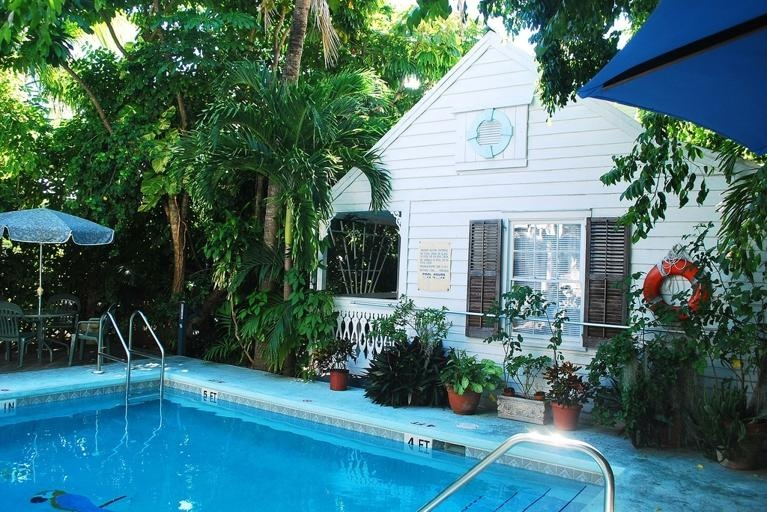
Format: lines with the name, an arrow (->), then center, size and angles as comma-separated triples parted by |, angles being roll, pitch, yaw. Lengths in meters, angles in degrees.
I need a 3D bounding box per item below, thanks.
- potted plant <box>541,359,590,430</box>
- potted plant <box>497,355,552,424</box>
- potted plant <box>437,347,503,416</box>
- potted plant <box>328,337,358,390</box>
potted plant -> 2.774, 2.170, 8.732 | 0.660, 0.986, 0.381 | 4, 12, 21
potted plant -> 2.259, 2.165, 9.115 | 0.861, 1.160, 0.435 | -5, -10, 43
potted plant -> 1.390, 2.087, 9.386 | 0.932, 0.903, 0.981 | 3, -13, -8
potted plant -> -0.830, 2.083, 10.846 | 0.515, 0.965, 0.547 | -3, -1, 0
